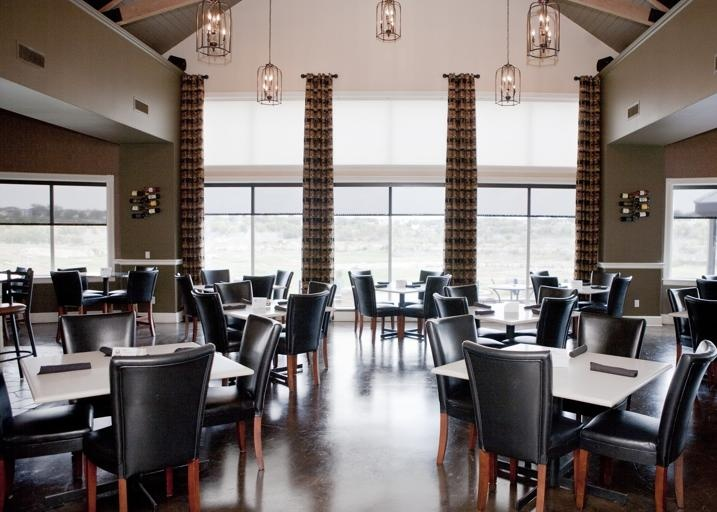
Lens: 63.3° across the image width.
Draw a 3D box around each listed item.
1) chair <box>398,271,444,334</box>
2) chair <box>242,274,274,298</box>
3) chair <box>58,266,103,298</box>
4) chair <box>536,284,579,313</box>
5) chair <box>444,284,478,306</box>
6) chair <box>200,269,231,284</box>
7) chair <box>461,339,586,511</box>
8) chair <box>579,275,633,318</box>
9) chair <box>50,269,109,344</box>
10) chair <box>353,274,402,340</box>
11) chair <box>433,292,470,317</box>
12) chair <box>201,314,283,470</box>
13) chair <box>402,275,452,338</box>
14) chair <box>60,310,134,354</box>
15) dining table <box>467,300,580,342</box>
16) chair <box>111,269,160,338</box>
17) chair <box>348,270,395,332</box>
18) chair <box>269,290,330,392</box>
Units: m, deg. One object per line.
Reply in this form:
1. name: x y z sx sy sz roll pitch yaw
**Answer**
1. chair: 0.941 0.782 9.125 0.550 0.810 0.486 8 11 23
2. chair: -1.554 0.465 9.177 0.332 0.492 0.396 0 -4 1
3. chair: -4.491 0.428 9.428 0.453 0.780 0.454 -1 -1 16
4. chair: 2.606 0.523 7.661 0.379 0.463 0.377 -1 5 -21
5. chair: 1.402 0.513 7.958 0.307 0.387 0.311 1 -5 -8
6. chair: -2.369 0.336 9.683 0.319 0.396 0.314 3 -3 -43
7. chair: 1.320 1.396 4.768 0.897 1.442 0.453 0 3 13
8. chair: 3.736 0.849 8.906 0.645 1.030 0.597 4 -7 36
9. chair: -4.196 0.698 9.128 0.630 0.957 0.542 1 4 -41
10. chair: 0.290 0.767 9.282 0.689 0.974 0.558 -3 5 -38
11. chair: 1.058 0.574 6.722 0.296 0.348 0.292 -3 0 8
12. chair: -1.146 1.290 5.525 0.907 1.211 0.941 -4 2 26
13. chair: 0.949 0.794 9.058 0.567 0.843 0.495 1 -3 29
14. chair: -2.536 0.701 5.766 0.464 0.624 0.467 -5 -6 31
15. dining table: 1.680 0.740 7.030 0.818 0.242 0.538 -8 -13 -31
16. chair: -3.624 0.712 9.306 0.663 1.030 0.643 4 3 44
17. chair: 0.264 0.754 9.268 0.682 0.978 0.565 -2 4 -28
18. chair: -0.772 1.001 7.010 0.639 1.106 0.603 -1 -1 40
